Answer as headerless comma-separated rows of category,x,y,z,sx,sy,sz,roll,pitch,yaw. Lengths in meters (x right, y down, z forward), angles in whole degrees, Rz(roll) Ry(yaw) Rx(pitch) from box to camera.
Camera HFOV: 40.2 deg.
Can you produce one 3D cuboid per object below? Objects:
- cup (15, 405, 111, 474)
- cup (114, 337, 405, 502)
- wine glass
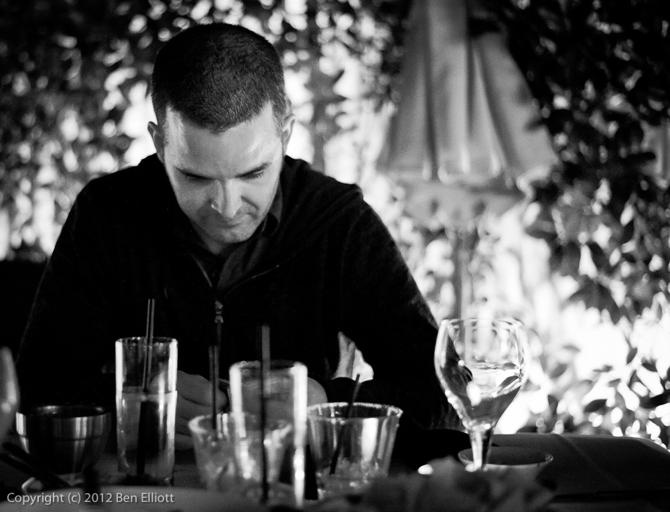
cup,-0.489,0.329,1.652,0.139,0.100,0.148,0,-11,0
cup,-0.208,0.256,1.739,0.382,0.308,0.315,-2,-6,26
wine glass,0.277,0.252,1.714,0.149,0.270,0.125,3,-6,-36
